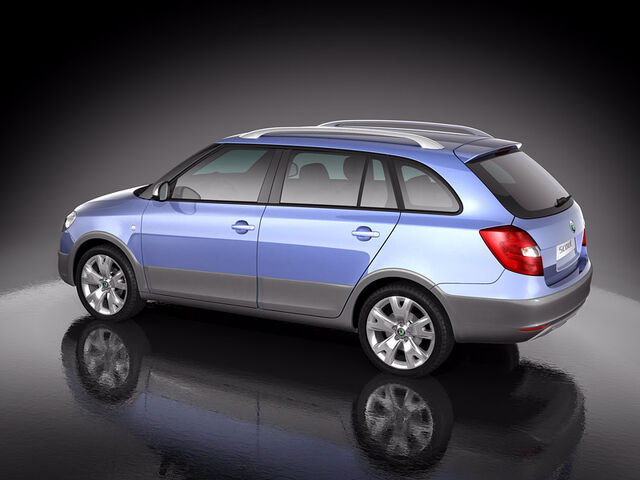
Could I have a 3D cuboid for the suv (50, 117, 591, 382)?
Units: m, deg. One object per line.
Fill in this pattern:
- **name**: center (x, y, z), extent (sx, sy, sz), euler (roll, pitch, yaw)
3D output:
- **suv**: center (-0.270, -0.064, 4.750), extent (5.202, 1.822, 2.314), euler (4, 7, 19)
